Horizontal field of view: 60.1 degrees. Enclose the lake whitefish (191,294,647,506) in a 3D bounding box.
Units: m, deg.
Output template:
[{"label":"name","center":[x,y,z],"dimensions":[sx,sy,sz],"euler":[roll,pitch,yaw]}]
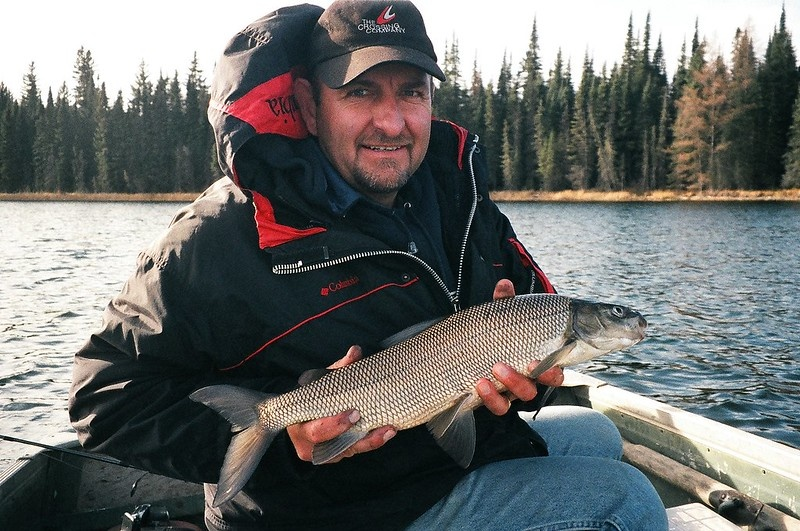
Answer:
[{"label":"lake whitefish","center":[0.231,0.726,4.413],"dimensions":[2.893,1.038,0.452],"euler":[-15,20,-14]}]
